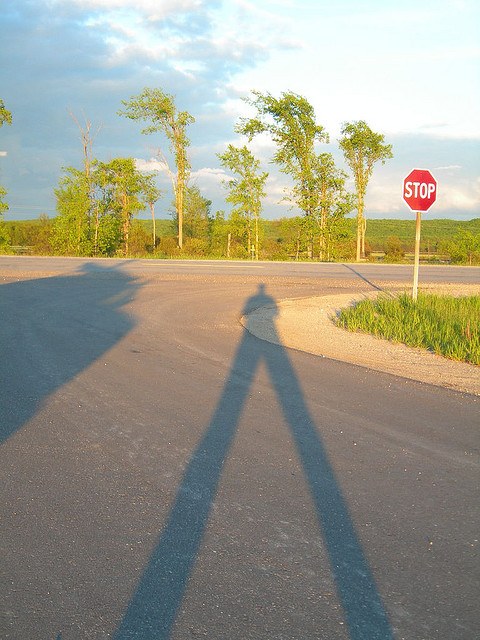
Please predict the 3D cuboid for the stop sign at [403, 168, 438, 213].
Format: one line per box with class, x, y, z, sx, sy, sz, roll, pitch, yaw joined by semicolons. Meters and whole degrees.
stop sign;3.971;-2.830;11.136;0.777;0.915;0.276;0;7;-13
